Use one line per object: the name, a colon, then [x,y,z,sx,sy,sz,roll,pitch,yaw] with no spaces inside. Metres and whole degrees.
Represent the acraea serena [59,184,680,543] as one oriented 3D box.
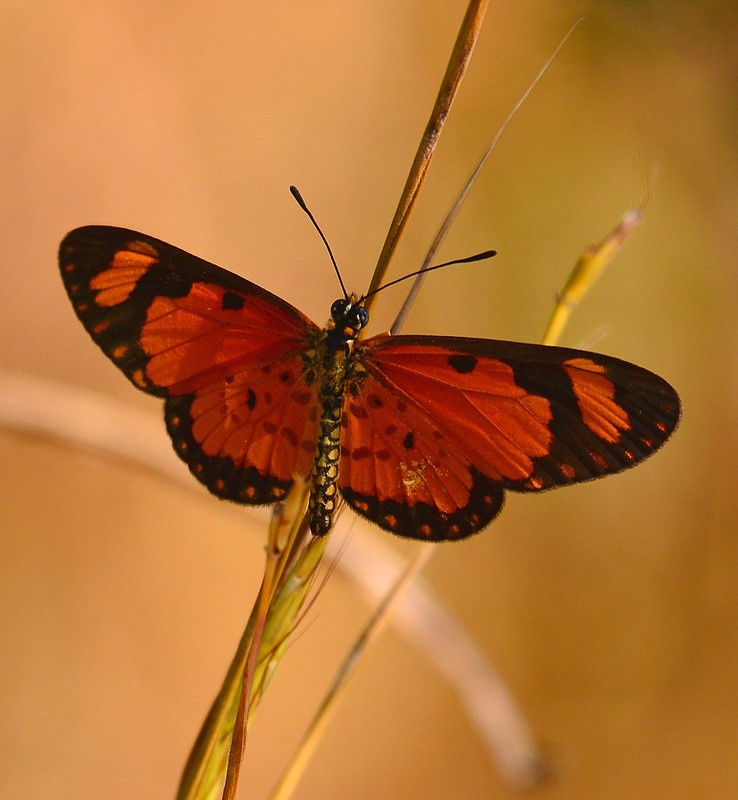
acraea serena: [-0.004,-0.020,0.956,0.772,0.082,0.344,14,-78,15]
